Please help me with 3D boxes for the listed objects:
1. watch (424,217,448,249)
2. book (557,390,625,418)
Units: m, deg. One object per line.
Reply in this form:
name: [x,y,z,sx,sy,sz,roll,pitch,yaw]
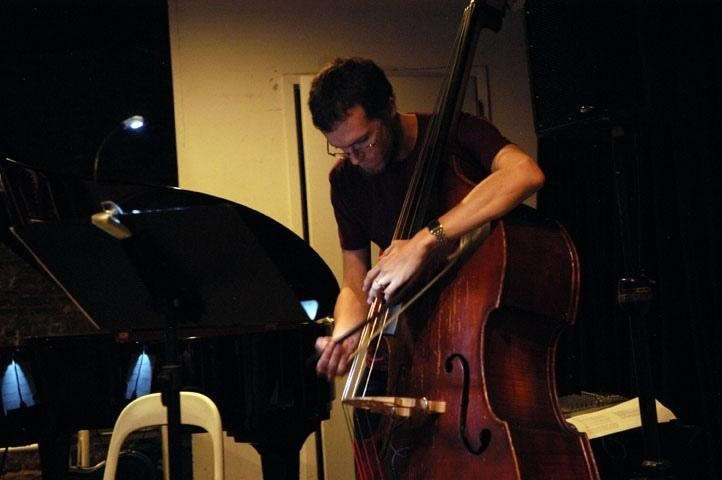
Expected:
watch: [0.291,-0.026,2.779,0.091,0.106,0.065,-33,-7,10]
book: [1.076,0.775,3.497,0.160,0.043,0.154,-12,7,4]
